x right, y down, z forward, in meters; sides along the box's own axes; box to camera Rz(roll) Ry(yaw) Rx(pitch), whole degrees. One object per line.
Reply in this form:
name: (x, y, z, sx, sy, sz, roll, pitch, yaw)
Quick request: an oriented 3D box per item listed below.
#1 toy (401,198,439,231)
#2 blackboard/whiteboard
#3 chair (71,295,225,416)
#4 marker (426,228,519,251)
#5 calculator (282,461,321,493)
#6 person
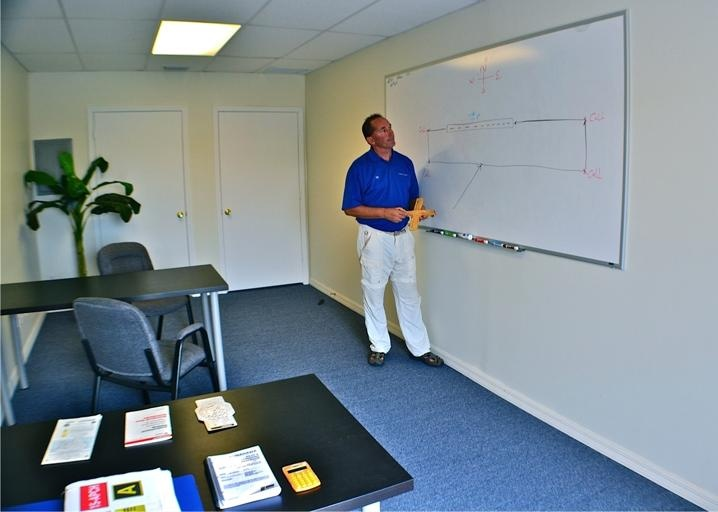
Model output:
toy: (0.476, -0.350, 3.800, 0.286, 0.081, 0.302, 0, 52, 3)
blackboard/whiteboard: (0.907, -0.788, 3.474, 0.080, 1.378, 2.155, -12, 17, -28)
chair: (-1.279, 0.496, 3.042, 0.647, 0.920, 0.646, 1, 10, 14)
marker: (0.865, -0.130, 3.582, 0.041, 0.062, 0.922, -4, 11, -31)
calculator: (-0.198, 0.762, 1.646, 0.102, 0.039, 0.129, -8, 13, -27)
person: (0.193, -0.035, 4.051, 0.734, 2.138, 0.827, -2, 4, -40)
